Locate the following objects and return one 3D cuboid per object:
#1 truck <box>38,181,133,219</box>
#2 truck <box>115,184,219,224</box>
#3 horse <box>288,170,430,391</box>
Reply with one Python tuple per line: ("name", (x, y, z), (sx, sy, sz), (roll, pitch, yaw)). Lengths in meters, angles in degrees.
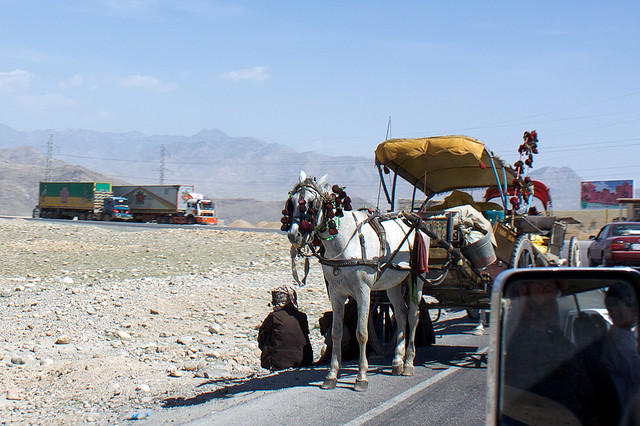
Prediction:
("truck", (-26.323, -1.218, 63.126), (12.730, 3.939, 3.240), (2, -3, 28))
("truck", (-17.299, -0.961, 60.667), (11.820, 3.803, 3.006), (2, 1, 24))
("horse", (0.624, 0.969, 8.404), (2.462, 3.073, 1.016), (1, 5, -41))
